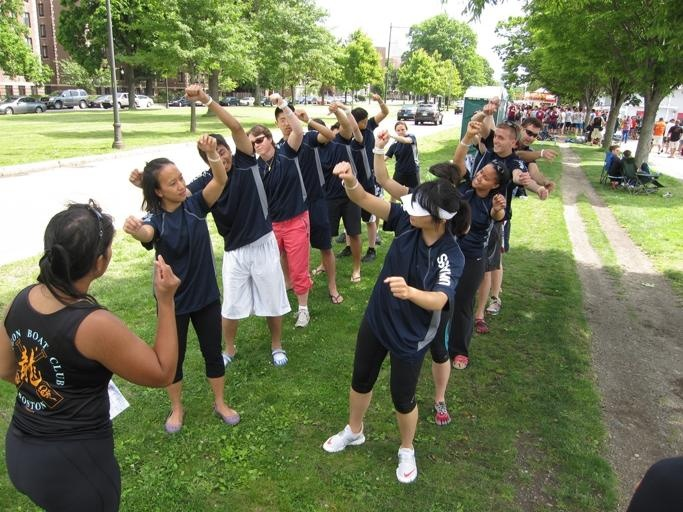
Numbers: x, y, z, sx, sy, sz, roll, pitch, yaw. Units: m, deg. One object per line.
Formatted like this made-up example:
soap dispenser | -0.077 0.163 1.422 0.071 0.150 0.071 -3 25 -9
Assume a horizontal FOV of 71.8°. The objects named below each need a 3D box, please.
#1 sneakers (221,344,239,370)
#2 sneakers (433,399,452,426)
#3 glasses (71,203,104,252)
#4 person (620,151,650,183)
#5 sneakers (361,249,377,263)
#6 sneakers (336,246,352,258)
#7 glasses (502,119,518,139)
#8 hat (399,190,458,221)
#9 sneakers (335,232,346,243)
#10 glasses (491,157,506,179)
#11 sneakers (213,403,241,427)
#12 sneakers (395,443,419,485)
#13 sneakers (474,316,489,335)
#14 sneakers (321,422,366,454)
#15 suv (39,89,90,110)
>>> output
sneakers | -1.260 1.147 5.302 0.134 0.168 0.392 1 2 2
sneakers | 0.995 1.542 4.609 0.114 0.106 0.238 -2 11 3
glasses | -1.358 -0.166 2.566 0.217 0.239 0.067 15 14 36
person | 9.820 -2.996 15.645 0.937 1.055 0.450 13 22 30
sneakers | 0.506 -0.022 8.291 0.128 0.245 0.327 2 4 45
sneakers | 0.068 -0.071 8.451 0.341 0.236 0.122 0 10 7
glasses | 1.991 -1.509 5.510 0.187 0.265 0.108 -5 6 3
hat | 0.628 -0.335 3.443 0.312 0.101 0.220 18 19 -19
sneakers | 0.008 -0.367 9.250 0.303 0.233 0.114 4 2 36
glasses | 1.636 -0.917 4.880 0.049 0.173 0.158 -16 33 -32
sneakers | -1.088 1.498 4.501 0.128 0.073 0.252 -14 32 -44
sneakers | 0.552 1.755 3.934 0.121 0.126 0.307 -2 9 4
sneakers | 1.857 0.928 6.259 0.200 0.202 0.435 -3 -2 11
sneakers | 0.021 1.615 4.269 0.392 0.203 0.172 -7 32 -25
suv | -26.942 -15.253 46.017 1.969 1.741 3.718 16 23 32
